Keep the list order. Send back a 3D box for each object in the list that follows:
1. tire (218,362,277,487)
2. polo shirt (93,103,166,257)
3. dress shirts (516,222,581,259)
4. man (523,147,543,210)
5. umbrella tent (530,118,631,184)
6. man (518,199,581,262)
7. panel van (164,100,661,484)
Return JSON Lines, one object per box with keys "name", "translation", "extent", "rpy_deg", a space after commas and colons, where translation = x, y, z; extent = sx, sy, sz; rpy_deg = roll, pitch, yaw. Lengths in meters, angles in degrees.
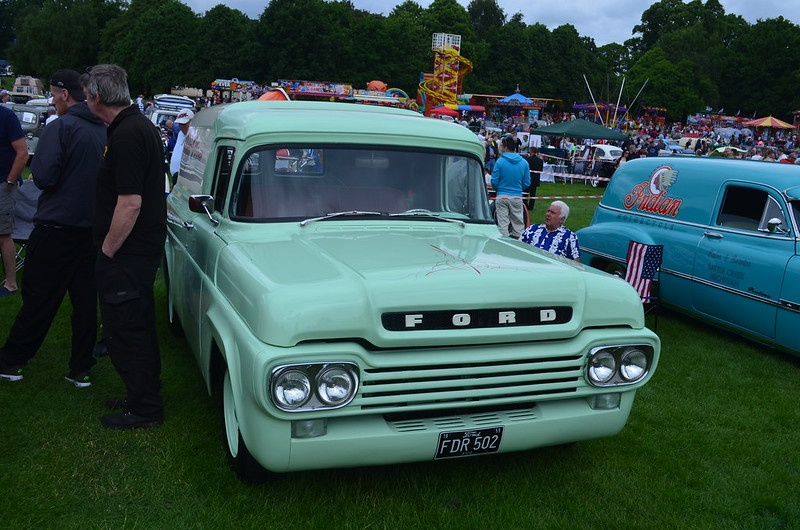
{"name": "tire", "translation": [-1.079, 1.156, 4.065], "extent": [0.248, 0.793, 0.771], "rpy_deg": [4, 30, -24]}
{"name": "polo shirt", "translation": [-2.325, -0.709, 4.904], "extent": [0.578, 1.290, 0.423], "rpy_deg": [-4, 15, -30]}
{"name": "dress shirts", "translation": [1.780, -0.284, 6.807], "extent": [0.695, 0.555, 0.370], "rpy_deg": [10, -2, 32]}
{"name": "man", "translation": [3.955, -2.551, 17.051], "extent": [0.609, 2.023, 0.566], "rpy_deg": [0, 6, -16]}
{"name": "umbrella tent", "translation": [7.827, -4.886, 26.466], "extent": [3.095, 1.032, 3.252], "rpy_deg": [21, 30, 36]}
{"name": "man", "translation": [1.890, -0.414, 7.218], "extent": [0.796, 0.784, 0.463], "rpy_deg": [15, 1, 27]}
{"name": "panel van", "translation": [-0.504, -0.204, 5.781], "extent": [2.544, 1.963, 4.342], "rpy_deg": [-2, 8, -16]}
